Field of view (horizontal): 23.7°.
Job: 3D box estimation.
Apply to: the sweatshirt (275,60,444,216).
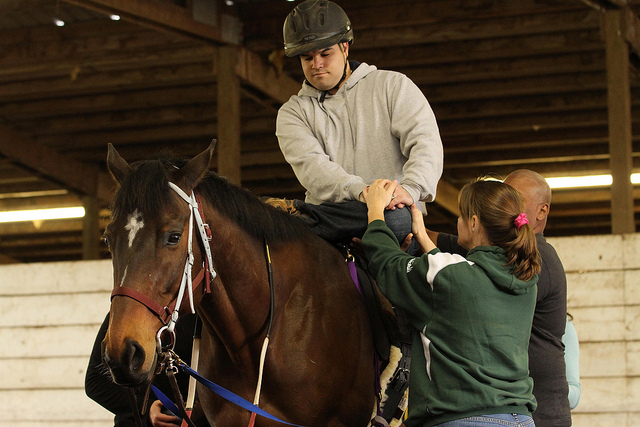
[{"bbox_3d":[0.329,-0.676,12.731,1.364,1.229,0.466,-1,-3,-1],"label":"sweatshirt"}]
